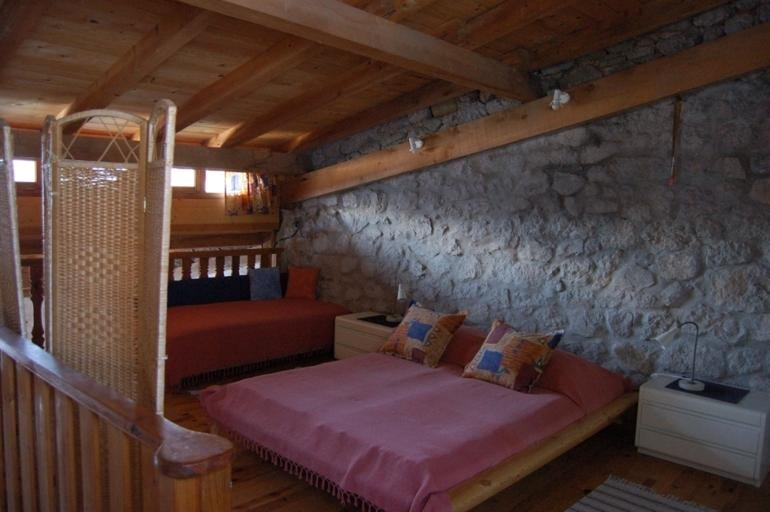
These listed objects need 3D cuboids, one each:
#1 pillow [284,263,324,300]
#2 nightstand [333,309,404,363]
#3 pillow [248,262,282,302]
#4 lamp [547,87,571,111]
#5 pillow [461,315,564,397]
[{"bbox_3d":[-1.033,0.357,7.072,0.422,0.398,0.395,1,12,-5],"label":"pillow"},{"bbox_3d":[-0.078,0.934,6.211,0.807,0.450,0.584,9,9,41],"label":"nightstand"},{"bbox_3d":[-1.445,0.337,6.936,0.438,0.352,0.347,-3,13,-23],"label":"pillow"},{"bbox_3d":[1.459,-1.331,4.789,0.157,0.052,0.177,-24,27,10],"label":"lamp"},{"bbox_3d":[0.938,0.781,4.767,0.182,0.790,0.737,44,24,-22],"label":"pillow"}]
